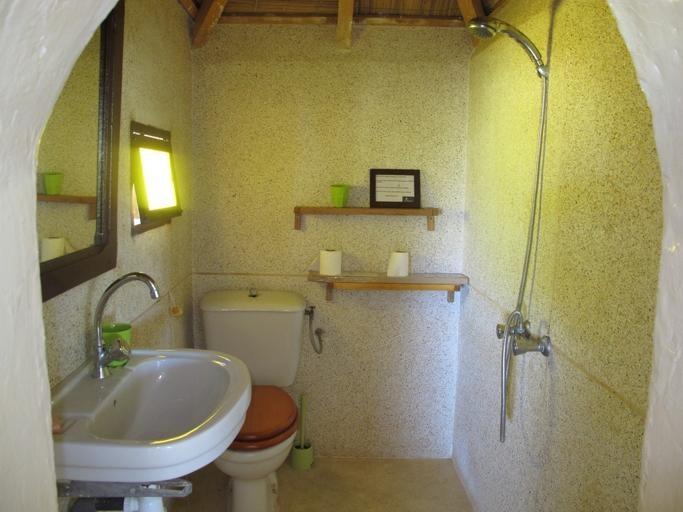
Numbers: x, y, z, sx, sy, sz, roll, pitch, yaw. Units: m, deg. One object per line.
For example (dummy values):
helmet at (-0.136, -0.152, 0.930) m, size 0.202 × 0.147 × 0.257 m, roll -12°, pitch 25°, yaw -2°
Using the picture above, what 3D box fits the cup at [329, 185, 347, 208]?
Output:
cup at (-0.011, -0.307, 2.814) m, size 0.099 × 0.124 × 0.105 m, roll 0°, pitch 5°, yaw 0°

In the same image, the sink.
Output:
sink at (-0.525, 0.480, 1.616) m, size 0.396 × 0.144 × 0.562 m, roll 2°, pitch 11°, yaw -4°

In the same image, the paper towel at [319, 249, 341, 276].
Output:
paper towel at (-0.053, 0.033, 2.851) m, size 0.111 × 0.130 × 0.116 m, roll 3°, pitch 7°, yaw 16°

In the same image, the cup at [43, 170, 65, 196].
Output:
cup at (-0.807, -0.205, 1.546) m, size 0.044 × 0.048 × 0.047 m, roll 5°, pitch 15°, yaw -1°

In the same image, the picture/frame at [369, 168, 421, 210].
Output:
picture/frame at (0.280, -0.348, 2.870) m, size 0.194 × 0.159 × 0.021 m, roll -1°, pitch 4°, yaw -1°

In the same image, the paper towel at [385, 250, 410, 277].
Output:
paper towel at (0.296, 0.037, 2.880) m, size 0.113 × 0.133 × 0.120 m, roll 1°, pitch 13°, yaw 5°

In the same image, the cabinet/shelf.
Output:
cabinet/shelf at (0.207, -0.004, 2.853) m, size 0.909 × 0.512 × 0.260 m, roll 1°, pitch 5°, yaw -7°
